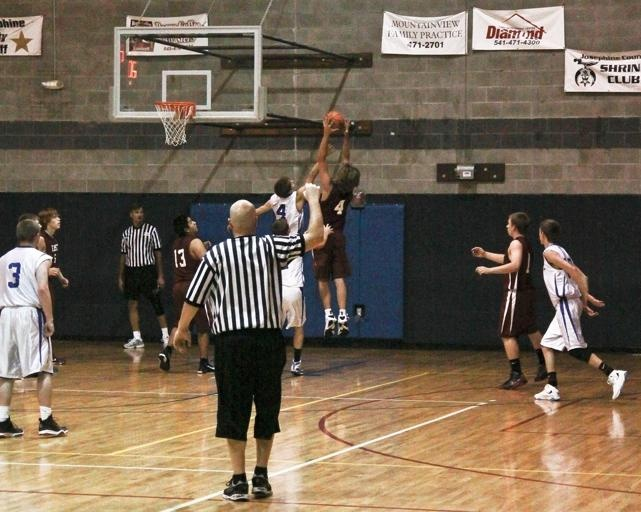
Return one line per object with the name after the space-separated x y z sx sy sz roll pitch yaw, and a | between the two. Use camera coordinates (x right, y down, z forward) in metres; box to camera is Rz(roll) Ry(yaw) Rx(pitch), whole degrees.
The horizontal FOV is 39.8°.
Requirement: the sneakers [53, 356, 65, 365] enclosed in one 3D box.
-3.620 1.459 12.248 0.081 0.115 0.265 1 -8 -12 | sneakers

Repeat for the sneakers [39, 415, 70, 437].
-2.547 1.629 8.474 0.310 0.252 0.139 0 0 -17 | sneakers

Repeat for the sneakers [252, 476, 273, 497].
-0.457 1.812 6.940 0.078 0.114 0.227 1 -1 10 | sneakers

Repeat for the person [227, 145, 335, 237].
-0.535 -0.513 11.625 1.012 1.706 0.486 -8 43 -10 | person

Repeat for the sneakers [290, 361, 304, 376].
-0.252 1.448 11.419 0.204 0.235 0.108 2 2 -16 | sneakers

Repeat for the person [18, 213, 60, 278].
-3.042 -0.123 9.538 0.555 0.874 0.307 4 4 17 | person

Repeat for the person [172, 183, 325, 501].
-0.558 0.690 7.036 1.074 2.447 0.675 -1 2 -10 | person
